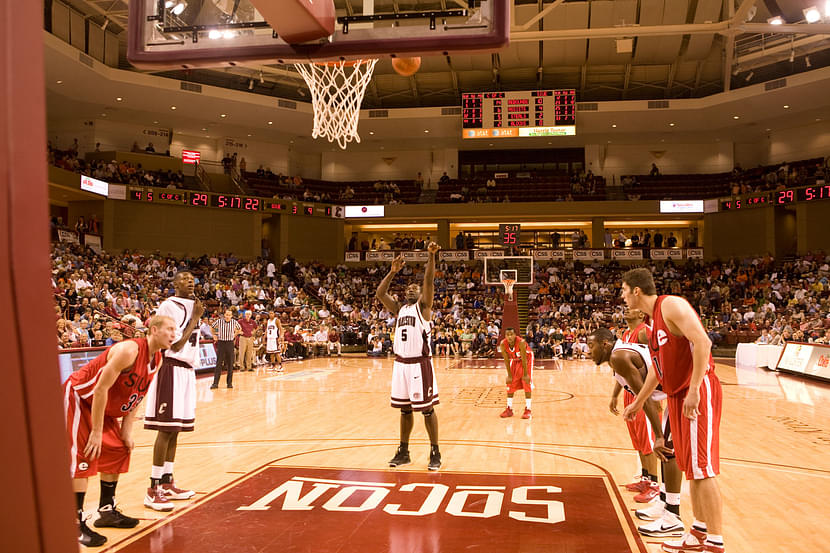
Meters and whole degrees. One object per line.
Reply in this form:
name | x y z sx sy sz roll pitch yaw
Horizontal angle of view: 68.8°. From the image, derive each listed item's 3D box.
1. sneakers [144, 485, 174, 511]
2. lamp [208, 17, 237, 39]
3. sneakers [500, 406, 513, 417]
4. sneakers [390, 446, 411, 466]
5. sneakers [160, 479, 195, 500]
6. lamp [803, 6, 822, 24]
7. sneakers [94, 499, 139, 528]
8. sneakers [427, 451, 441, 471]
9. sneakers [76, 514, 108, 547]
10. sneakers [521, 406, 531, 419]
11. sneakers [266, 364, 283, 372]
sneakers | -2.093 1.809 4.963 0.212 0.164 0.333 1 -4 -32
lamp | -1.314 -1.680 4.116 0.152 0.157 0.039 -7 -10 -7
sneakers | 1.366 2.029 9.014 0.087 0.119 0.279 -6 -17 20
sneakers | -0.160 1.814 6.144 0.173 0.176 0.245 -3 -4 23
sneakers | -1.987 1.824 5.181 0.325 0.145 0.112 1 -3 5
lamp | 11.445 -7.466 17.269 0.130 0.551 0.528 -29 24 -20
sneakers | -2.277 1.825 4.667 0.419 0.197 0.146 1 -5 4
sneakers | 0.185 1.803 5.972 0.122 0.164 0.229 -1 -3 0
sneakers | -2.302 1.793 4.317 0.170 0.179 0.327 0 -4 -30
sneakers | 1.633 2.023 8.896 0.085 0.118 0.279 -3 -17 10
sneakers | -3.729 2.389 15.764 0.517 0.227 0.210 3 -9 -1
